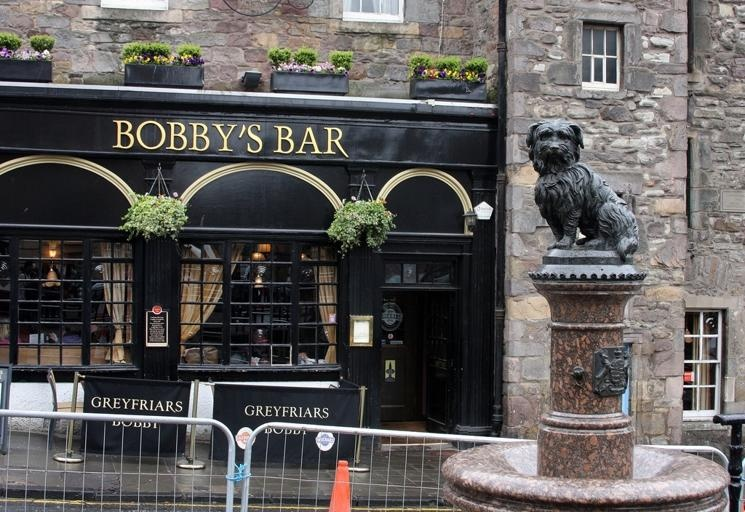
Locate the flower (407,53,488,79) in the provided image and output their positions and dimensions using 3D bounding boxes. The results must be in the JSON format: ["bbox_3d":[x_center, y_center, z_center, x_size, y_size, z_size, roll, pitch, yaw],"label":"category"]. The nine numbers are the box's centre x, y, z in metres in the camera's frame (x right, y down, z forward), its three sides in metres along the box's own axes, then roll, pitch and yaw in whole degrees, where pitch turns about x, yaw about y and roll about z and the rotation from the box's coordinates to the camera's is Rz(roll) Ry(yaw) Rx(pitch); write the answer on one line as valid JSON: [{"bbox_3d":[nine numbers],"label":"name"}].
[{"bbox_3d":[1.270,-3.165,24.370,0.758,0.314,0.703,0,3,-24],"label":"flower"}]

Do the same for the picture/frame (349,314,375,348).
[{"bbox_3d":[-0.201,1.253,24.092,0.642,0.704,0.067,0,-1,-9],"label":"picture/frame"}]

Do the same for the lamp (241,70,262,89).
[{"bbox_3d":[-2.052,-2.975,24.330,0.342,0.308,0.265,-1,5,7],"label":"lamp"}]

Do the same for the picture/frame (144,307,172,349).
[{"bbox_3d":[-3.568,1.164,23.756,0.357,0.674,0.105,0,-4,-20],"label":"picture/frame"}]

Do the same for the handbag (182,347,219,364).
[{"bbox_3d":[-2.871,1.644,23.987,0.603,0.282,0.077,-1,-3,2],"label":"handbag"}]

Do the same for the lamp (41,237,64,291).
[{"bbox_3d":[-5.304,0.131,23.682,0.292,0.762,0.152,0,-4,-14],"label":"lamp"}]

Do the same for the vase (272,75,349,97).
[{"bbox_3d":[-1.056,-2.872,24.101,1.256,0.349,0.161,-1,-3,-4],"label":"vase"}]
